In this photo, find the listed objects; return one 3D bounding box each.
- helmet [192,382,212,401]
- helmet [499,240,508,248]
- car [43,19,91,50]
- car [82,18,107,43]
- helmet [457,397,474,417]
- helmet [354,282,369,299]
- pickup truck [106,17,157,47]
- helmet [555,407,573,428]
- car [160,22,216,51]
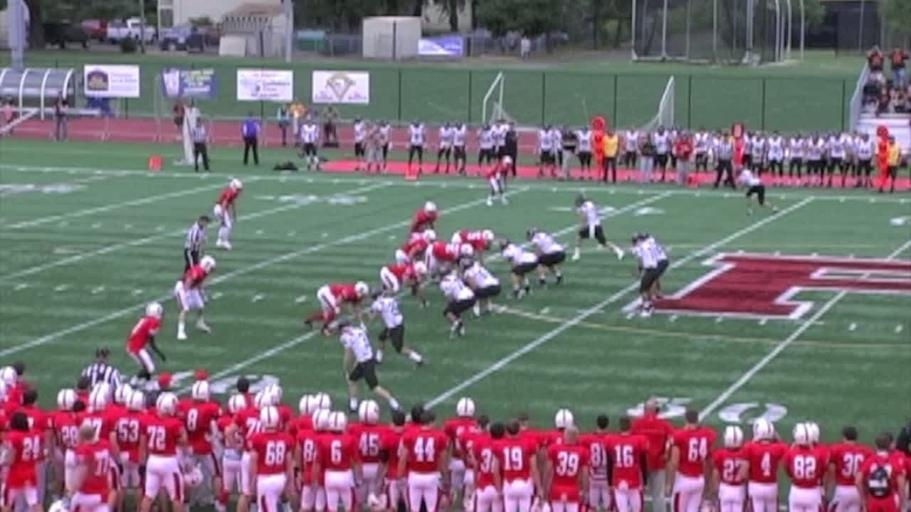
[{"bbox_3d":[-7.505,3.918,44.927,0.467,0.549,0.548,4,-2,5],"label":"helmet"},{"bbox_3d":[1.577,-0.440,51.918,0.310,0.322,0.376,-1,6,5],"label":"helmet"},{"bbox_3d":[-27.484,-15.516,106.860,2.375,1.377,2.332,4,4,0],"label":"car"},{"bbox_3d":[-26.036,-16.089,109.113,2.049,1.417,1.639,4,-13,-15],"label":"car"},{"bbox_3d":[0.209,4.313,44.530,0.505,0.485,0.624,2,16,2],"label":"helmet"},{"bbox_3d":[-3.096,1.047,49.128,0.436,0.453,0.513,15,20,-27],"label":"helmet"},{"bbox_3d":[-23.624,-15.961,109.355,3.672,1.576,1.983,-5,12,-12],"label":"pickup truck"},{"bbox_3d":[3.053,4.636,43.915,0.459,0.496,0.369,0,6,10],"label":"helmet"},{"bbox_3d":[-18.624,-14.856,105.473,2.318,1.233,3.112,2,5,23],"label":"car"}]
